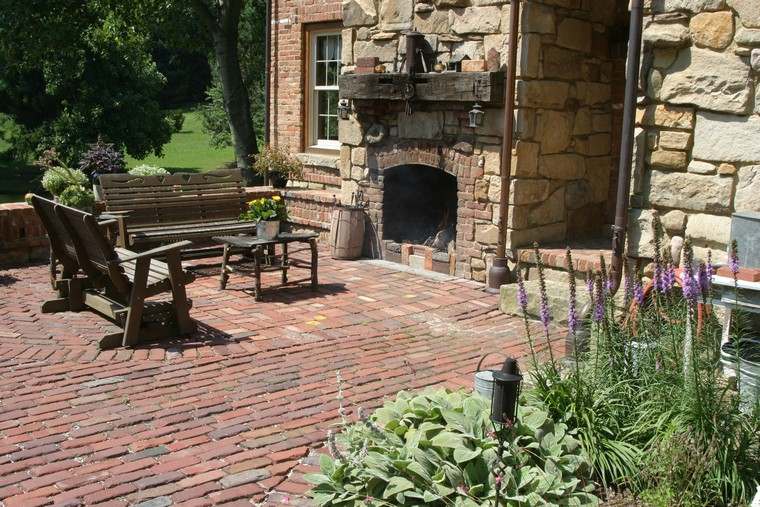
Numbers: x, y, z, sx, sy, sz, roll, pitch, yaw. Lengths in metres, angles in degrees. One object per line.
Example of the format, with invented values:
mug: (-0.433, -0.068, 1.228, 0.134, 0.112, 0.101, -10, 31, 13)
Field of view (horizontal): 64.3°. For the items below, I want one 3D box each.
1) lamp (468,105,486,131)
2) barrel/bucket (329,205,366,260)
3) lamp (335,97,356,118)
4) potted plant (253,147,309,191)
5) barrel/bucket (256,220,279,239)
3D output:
lamp: (1.238, -1.811, 7.959, 0.263, 0.314, 0.217, 9, 14, 38)
barrel/bucket: (-0.495, -0.311, 9.292, 0.778, 0.915, 0.671, 0, 7, -18)
lamp: (-0.552, -2.277, 9.474, 0.302, 0.335, 0.120, 8, 13, 35)
potted plant: (-1.925, -1.641, 11.563, 0.941, 0.816, 0.923, 2, 3, -3)
barrel/bucket: (-1.434, -0.301, 7.757, 0.254, 0.182, 0.252, 1, 14, 0)
